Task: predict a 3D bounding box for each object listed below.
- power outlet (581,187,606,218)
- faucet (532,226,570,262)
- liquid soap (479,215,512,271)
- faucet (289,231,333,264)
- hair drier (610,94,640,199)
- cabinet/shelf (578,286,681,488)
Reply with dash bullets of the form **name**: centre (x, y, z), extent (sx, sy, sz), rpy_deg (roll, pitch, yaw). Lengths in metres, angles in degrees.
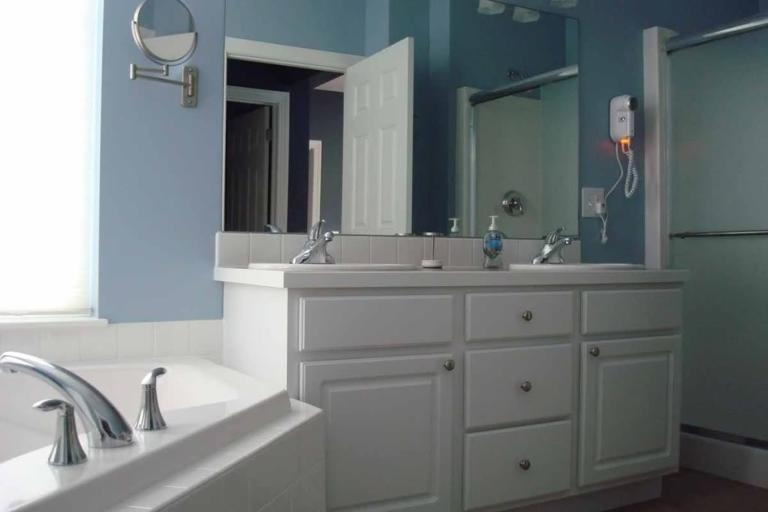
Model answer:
- **power outlet**: centre (1.151, -0.295, 3.249), extent (0.174, 0.199, 0.014), rpy_deg (0, 1, -15)
- **faucet**: centre (0.840, -0.054, 2.947), extent (0.219, 0.185, 0.050), rpy_deg (-6, 13, -20)
- **liquid soap**: centre (0.540, -0.076, 2.902), extent (0.114, 0.247, 0.387), rpy_deg (1, 5, 11)
- **faucet**: centre (-0.310, -0.043, 2.501), extent (0.208, 0.153, 0.077), rpy_deg (-1, 5, -31)
- **hair drier**: centre (1.348, -0.613, 3.312), extent (0.162, 0.586, 0.180), rpy_deg (1, -2, -24)
- **cabinet/shelf**: centre (1.017, 0.567, 2.889), extent (0.683, 0.910, 0.646), rpy_deg (-1, 3, -11)
